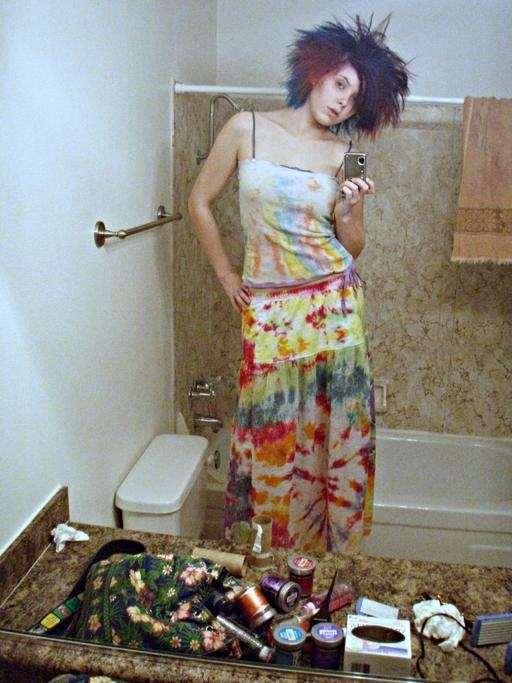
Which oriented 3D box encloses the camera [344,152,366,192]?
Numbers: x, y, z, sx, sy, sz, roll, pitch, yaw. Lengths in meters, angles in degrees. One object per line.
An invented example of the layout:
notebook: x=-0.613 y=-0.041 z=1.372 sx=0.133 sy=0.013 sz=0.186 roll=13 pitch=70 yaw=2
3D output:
camera: x=0.186 y=-0.330 z=1.139 sx=0.040 sy=0.050 sz=0.032 roll=1 pitch=11 yaw=11

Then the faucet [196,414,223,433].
faucet: x=-0.127 y=0.202 z=1.562 sx=0.030 sy=0.052 sz=0.137 roll=-3 pitch=9 yaw=-25
